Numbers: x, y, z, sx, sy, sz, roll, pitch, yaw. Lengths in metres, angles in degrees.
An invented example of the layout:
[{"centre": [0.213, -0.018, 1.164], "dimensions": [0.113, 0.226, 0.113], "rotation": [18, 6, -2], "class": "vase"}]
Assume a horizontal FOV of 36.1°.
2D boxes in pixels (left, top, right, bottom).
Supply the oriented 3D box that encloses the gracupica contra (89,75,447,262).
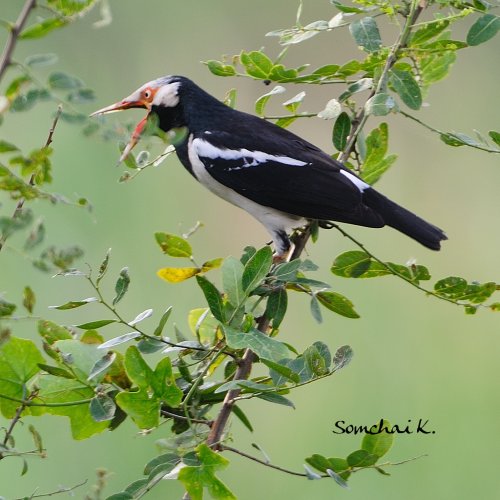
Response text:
[{"centre": [0.119, -0.262, 2.409], "dimensions": [1.177, 0.291, 0.487], "rotation": [8, -58, 21], "class": "gracupica contra"}]
